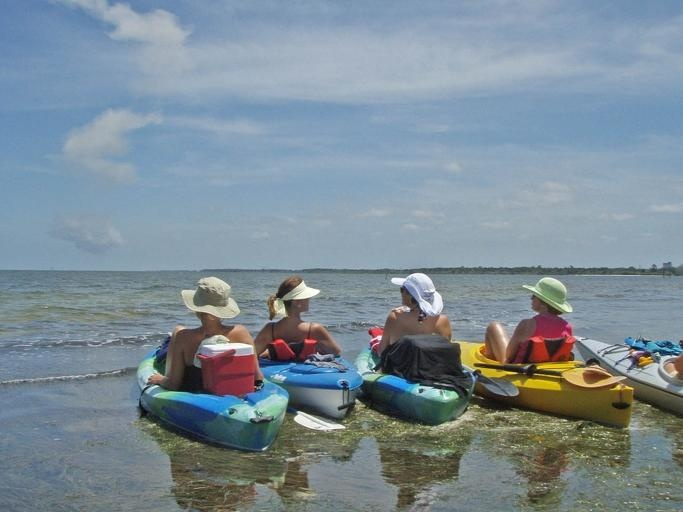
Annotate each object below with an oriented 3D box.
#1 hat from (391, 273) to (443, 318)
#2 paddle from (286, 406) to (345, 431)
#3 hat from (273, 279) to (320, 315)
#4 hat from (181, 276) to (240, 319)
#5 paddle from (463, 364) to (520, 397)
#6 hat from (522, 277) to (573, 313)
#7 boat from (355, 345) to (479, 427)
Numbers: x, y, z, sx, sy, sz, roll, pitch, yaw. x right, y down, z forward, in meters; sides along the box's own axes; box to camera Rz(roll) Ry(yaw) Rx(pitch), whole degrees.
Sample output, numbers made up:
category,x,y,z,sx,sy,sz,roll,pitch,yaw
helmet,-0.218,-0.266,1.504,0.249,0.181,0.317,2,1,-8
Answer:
category,x,y,z,sx,sy,sz,roll,pitch,yaw
hat,1.023,0.508,9.821,0.611,0.652,0.607,4,12,24
paddle,-0.366,2.177,9.415,0.601,0.088,0.277,11,10,24
hat,-0.677,0.471,9.973,0.645,0.206,0.384,-13,20,-7
hat,-1.609,0.456,8.869,0.787,0.279,0.734,16,23,20
paddle,2.049,1.795,10.024,0.344,0.139,0.924,0,8,-28
hat,2.915,0.507,10.161,0.710,0.221,0.620,26,8,35
boat,1.058,1.996,10.093,1.267,0.404,1.859,11,-4,-25
